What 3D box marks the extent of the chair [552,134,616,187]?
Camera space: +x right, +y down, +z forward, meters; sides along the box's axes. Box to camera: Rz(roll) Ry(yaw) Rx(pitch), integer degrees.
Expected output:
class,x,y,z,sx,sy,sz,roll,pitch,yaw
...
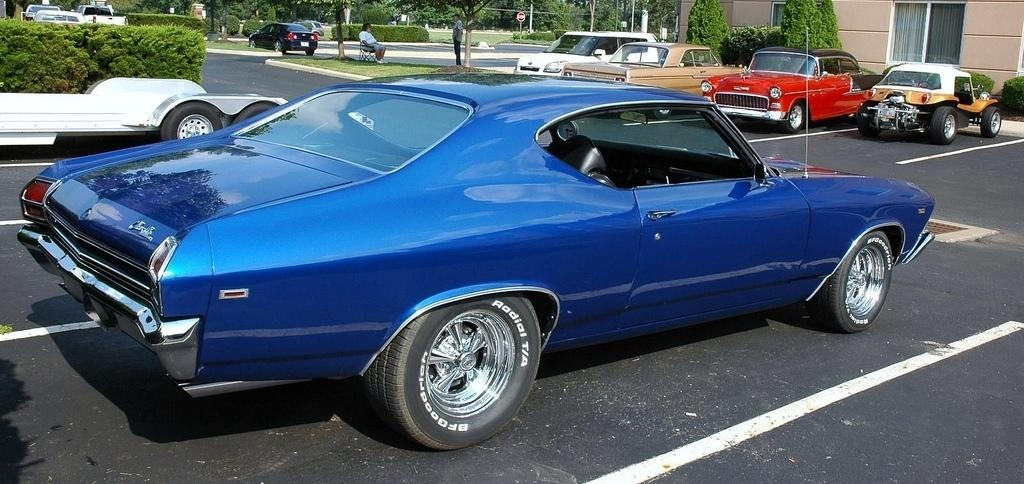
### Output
class,x,y,z,sx,sy,sz,roll,pitch,yaw
chair,0.685,-0.848,6.112,0.673,0.261,0.469,21,7,-36

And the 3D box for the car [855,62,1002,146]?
class,x,y,z,sx,sy,sz,roll,pitch,yaw
car,12.578,-4.092,18.337,4.205,1.661,2.460,-13,19,-30
